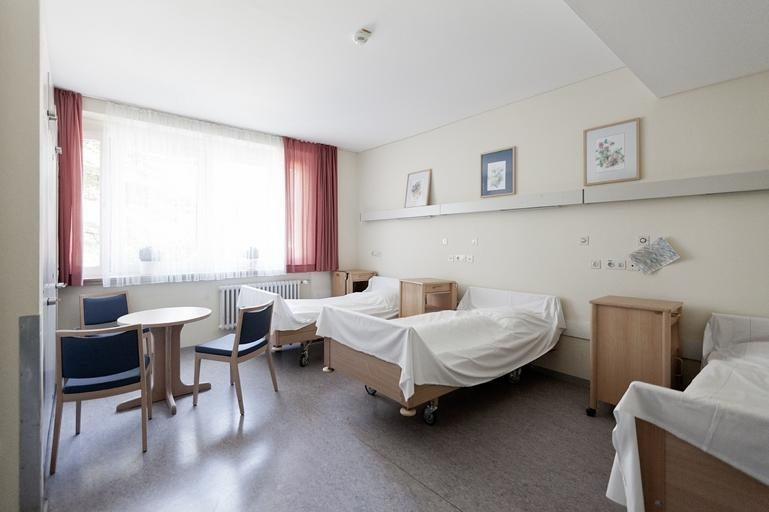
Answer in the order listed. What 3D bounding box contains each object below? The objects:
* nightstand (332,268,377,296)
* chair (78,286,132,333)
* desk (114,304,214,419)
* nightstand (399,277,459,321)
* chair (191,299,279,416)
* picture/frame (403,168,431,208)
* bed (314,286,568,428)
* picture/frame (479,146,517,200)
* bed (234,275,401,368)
[{"bbox_3d":[-0.515,0.424,8.116,0.582,0.566,0.461,2,-3,-43],"label":"nightstand"},{"bbox_3d":[-3.304,0.609,5.815,0.463,0.821,0.502,-1,3,-42],"label":"chair"},{"bbox_3d":[-2.361,1.113,5.290,0.869,0.913,0.901,-1,4,-19],"label":"desk"},{"bbox_3d":[0.602,0.523,6.725,0.586,0.588,0.593,5,6,45],"label":"nightstand"},{"bbox_3d":[-1.642,1.053,5.420,0.872,1.099,0.893,1,6,-9],"label":"chair"},{"bbox_3d":[0.498,-1.007,7.391,0.144,0.531,0.515,-4,2,-36],"label":"picture/frame"},{"bbox_3d":[0.561,0.980,5.817,2.737,1.292,1.904,-3,1,-35],"label":"bed"},{"bbox_3d":[1.504,-1.075,6.407,0.059,0.925,0.743,3,-4,-42],"label":"picture/frame"},{"bbox_3d":[-0.801,0.728,6.617,1.674,0.768,1.170,-2,2,-31],"label":"bed"}]
